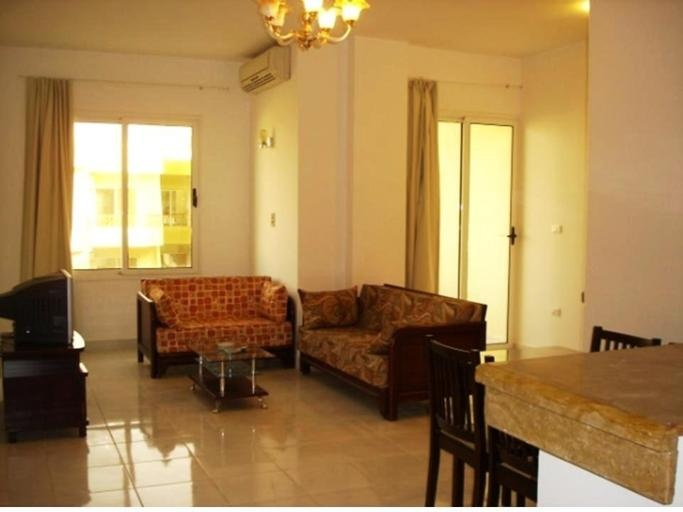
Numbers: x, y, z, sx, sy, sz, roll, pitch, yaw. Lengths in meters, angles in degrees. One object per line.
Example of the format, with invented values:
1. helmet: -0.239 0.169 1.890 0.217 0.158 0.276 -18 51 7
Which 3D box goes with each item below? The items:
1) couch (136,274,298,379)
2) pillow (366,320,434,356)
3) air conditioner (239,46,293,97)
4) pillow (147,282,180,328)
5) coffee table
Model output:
1. couch: -1.316 0.724 5.890 1.521 0.909 0.883 1 -3 -29
2. pillow: 0.475 0.634 4.370 0.480 0.266 0.212 -1 4 -17
3. air conditioner: -0.858 -1.991 6.195 0.236 0.362 0.885 -12 7 -31
4. pillow: -1.739 0.495 5.431 0.123 0.378 0.340 -21 0 5
5. coffee table: -0.917 0.964 4.659 0.447 0.403 0.816 2 2 -25
